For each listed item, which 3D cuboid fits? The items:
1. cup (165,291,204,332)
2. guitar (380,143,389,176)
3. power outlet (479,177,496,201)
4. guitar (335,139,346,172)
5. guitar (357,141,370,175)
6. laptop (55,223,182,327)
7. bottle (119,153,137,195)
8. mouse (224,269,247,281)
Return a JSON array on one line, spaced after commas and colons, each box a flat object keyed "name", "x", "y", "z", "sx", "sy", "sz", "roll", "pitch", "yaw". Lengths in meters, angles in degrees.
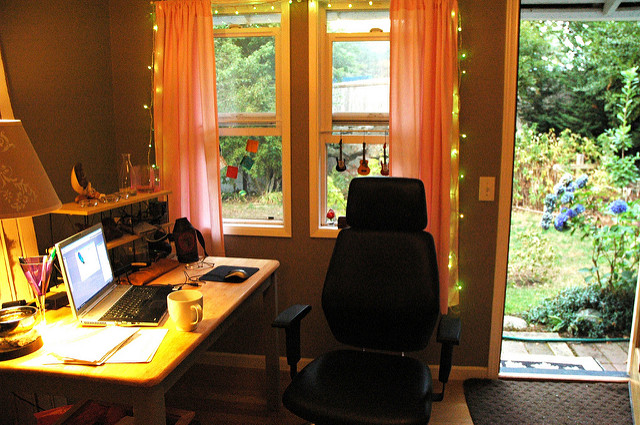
[{"name": "cup", "x": -0.752, "y": 0.580, "z": 2.838, "sx": 0.211, "sy": 0.189, "sz": 0.256, "roll": -6, "pitch": 10, "yaw": -38}, {"name": "guitar", "x": 0.497, "y": -0.415, "z": 3.882, "sx": 0.063, "sy": 0.246, "sz": 0.104, "roll": -2, "pitch": 15, "yaw": 0}, {"name": "power outlet", "x": 1.257, "y": -0.178, "z": 3.764, "sx": 0.119, "sy": 0.183, "sz": 0.047, "roll": 2, "pitch": 16, "yaw": 14}, {"name": "guitar", "x": 0.164, "y": -0.452, "z": 3.922, "sx": 0.084, "sy": 0.247, "sz": 0.079, "roll": -1, "pitch": 16, "yaw": 3}, {"name": "guitar", "x": 0.337, "y": -0.417, "z": 3.903, "sx": 0.088, "sy": 0.249, "sz": 0.107, "roll": -1, "pitch": 16, "yaw": 4}, {"name": "laptop", "x": -1.165, "y": 0.374, "z": 3.018, "sx": 0.586, "sy": 0.459, "sz": 0.663, "roll": 1, "pitch": 8, "yaw": -2}, {"name": "bottle", "x": -1.360, "y": -0.270, "z": 3.500, "sx": 0.115, "sy": 0.282, "sz": 0.277, "roll": -8, "pitch": 16, "yaw": -20}, {"name": "mouse", "x": -0.552, "y": 0.420, "z": 3.310, "sx": 0.115, "sy": 0.036, "sz": 0.068, "roll": 0, "pitch": 10, "yaw": 7}]
